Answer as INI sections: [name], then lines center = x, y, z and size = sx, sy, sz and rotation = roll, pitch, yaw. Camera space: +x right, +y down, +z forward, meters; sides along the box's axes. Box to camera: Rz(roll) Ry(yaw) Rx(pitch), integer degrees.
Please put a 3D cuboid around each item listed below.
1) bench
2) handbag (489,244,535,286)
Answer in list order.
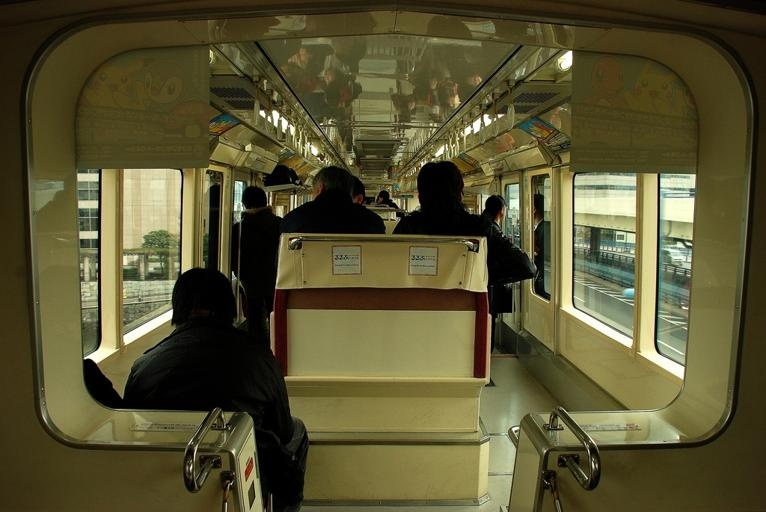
[bench]
center = 0.025, 0.493, 4.661
size = 1.563, 1.418, 1.350
rotation = 0, 3, 1
[handbag]
center = 1.091, 0.091, 5.005
size = 0.361, 0.289, 0.132
rotation = 5, 22, 12
